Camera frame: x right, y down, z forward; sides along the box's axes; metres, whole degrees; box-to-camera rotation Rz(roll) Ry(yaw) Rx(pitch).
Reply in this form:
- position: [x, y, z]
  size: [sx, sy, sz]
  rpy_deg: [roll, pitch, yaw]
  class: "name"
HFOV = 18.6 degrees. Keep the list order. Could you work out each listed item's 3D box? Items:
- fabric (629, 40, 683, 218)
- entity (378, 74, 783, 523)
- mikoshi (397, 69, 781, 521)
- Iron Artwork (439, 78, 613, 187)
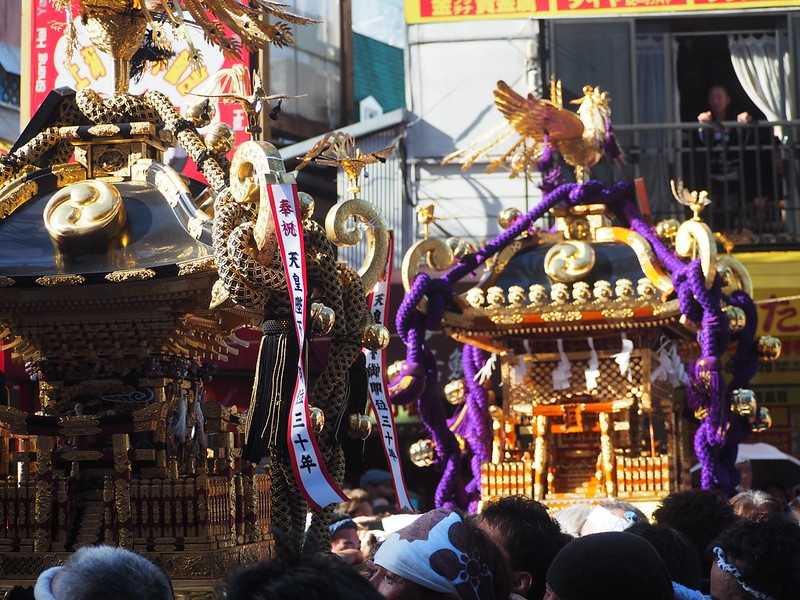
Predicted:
- position: [3.266, -2.208, 31.213]
  size: [0.559, 2.487, 0.125]
  rpy_deg: [-2, 2, -6]
  class: "fabric"
- position: [2.117, 0.009, 28.298]
  size: [3.721, 4.947, 3.636]
  rpy_deg: [-1, -2, 9]
  class: "entity"
- position: [2.192, 0.308, 28.631]
  size: [4.831, 4.812, 4.854]
  rpy_deg: [-3, -3, 38]
  class: "mikoshi"
- position: [1.602, -1.879, 28.236]
  size: [2.063, 1.084, 1.924]
  rpy_deg: [-1, -1, -32]
  class: "Iron Artwork"
